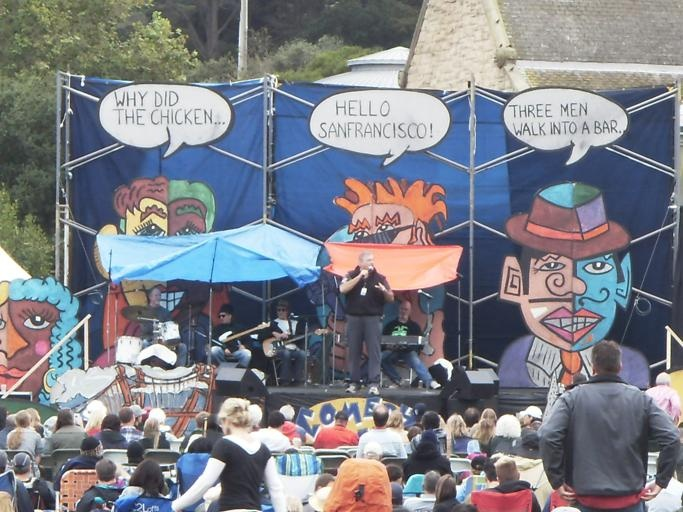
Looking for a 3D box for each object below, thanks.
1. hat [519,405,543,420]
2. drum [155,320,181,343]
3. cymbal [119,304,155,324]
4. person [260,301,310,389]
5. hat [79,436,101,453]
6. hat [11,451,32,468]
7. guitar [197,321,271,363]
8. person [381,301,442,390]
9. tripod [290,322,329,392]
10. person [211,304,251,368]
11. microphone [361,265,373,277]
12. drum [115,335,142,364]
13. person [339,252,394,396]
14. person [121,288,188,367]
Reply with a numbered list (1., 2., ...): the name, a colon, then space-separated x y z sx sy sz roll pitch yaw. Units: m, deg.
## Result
1. hat: 3.554 2.935 43.875 0.358 0.163 0.255 6 -10 22
2. drum: -3.526 1.550 47.060 0.440 0.363 0.507 1 7 10
3. cymbal: -4.131 1.203 47.501 0.661 0.291 0.764 -1 6 -4
4. person: -1.055 1.807 46.936 0.833 1.706 0.728 0 4 26
5. hat: -4.451 3.346 41.531 0.310 0.254 0.273 1 4 -9
6. hat: -5.686 3.621 41.516 0.330 0.280 0.334 -1 7 -7
7. guitar: -2.138 1.762 47.062 1.293 0.797 0.847 -1 1 -2
8. person: 1.342 1.834 46.672 1.076 1.729 0.861 1 3 -1
9. tripod: -0.583 1.992 47.118 0.728 1.214 0.569 0 3 5
10. person: -2.271 1.644 47.050 0.701 1.149 0.559 0 2 -14
11. microphone: 0.507 0.319 45.616 0.142 0.216 0.317 3 8 27
12. drum: -4.287 1.899 46.837 0.541 0.509 0.565 -8 -14 41
13. person: 0.527 1.343 45.944 1.006 2.726 0.832 1 4 6
14. person: -3.768 1.556 47.513 0.895 1.606 1.153 5 7 42
